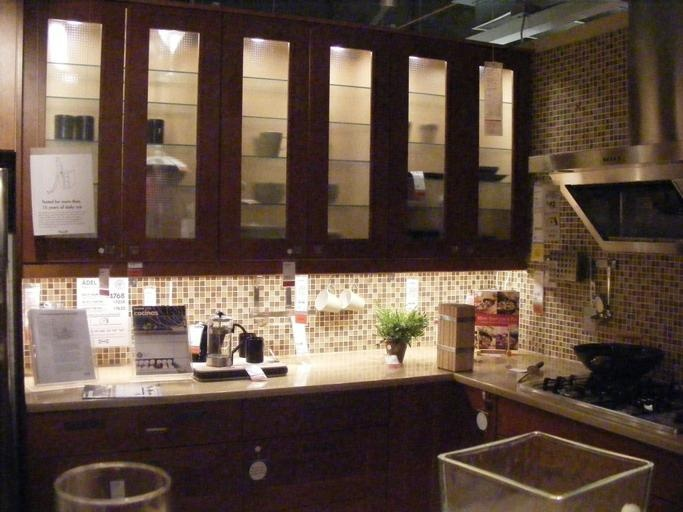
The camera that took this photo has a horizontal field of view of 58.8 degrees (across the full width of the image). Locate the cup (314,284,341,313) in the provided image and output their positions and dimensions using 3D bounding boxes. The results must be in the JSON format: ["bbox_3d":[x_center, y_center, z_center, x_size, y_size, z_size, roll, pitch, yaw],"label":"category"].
[{"bbox_3d":[-0.085,0.262,3.509,0.113,0.154,0.100,0,-24,-19],"label":"cup"}]

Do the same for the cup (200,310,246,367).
[{"bbox_3d":[-0.631,0.431,3.214,0.225,0.268,0.283,0,2,21],"label":"cup"}]

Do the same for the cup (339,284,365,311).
[{"bbox_3d":[0.047,0.267,3.561,0.147,0.118,0.133,-1,2,10],"label":"cup"}]

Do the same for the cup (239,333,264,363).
[{"bbox_3d":[-0.475,0.494,3.265,0.102,0.120,0.176,0,1,41],"label":"cup"}]

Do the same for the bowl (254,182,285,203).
[{"bbox_3d":[-0.384,-0.326,3.175,0.117,0.080,0.115,0,-2,0],"label":"bowl"}]

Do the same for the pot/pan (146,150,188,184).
[{"bbox_3d":[-0.884,-0.437,3.017,0.177,0.076,0.227,5,-2,-16],"label":"pot/pan"}]

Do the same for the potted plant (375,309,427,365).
[{"bbox_3d":[0.319,0.472,3.548,0.296,0.253,0.295,2,2,-3],"label":"potted plant"}]

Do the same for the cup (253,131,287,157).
[{"bbox_3d":[-0.385,-0.575,3.168,0.140,0.101,0.122,0,-1,8],"label":"cup"}]
